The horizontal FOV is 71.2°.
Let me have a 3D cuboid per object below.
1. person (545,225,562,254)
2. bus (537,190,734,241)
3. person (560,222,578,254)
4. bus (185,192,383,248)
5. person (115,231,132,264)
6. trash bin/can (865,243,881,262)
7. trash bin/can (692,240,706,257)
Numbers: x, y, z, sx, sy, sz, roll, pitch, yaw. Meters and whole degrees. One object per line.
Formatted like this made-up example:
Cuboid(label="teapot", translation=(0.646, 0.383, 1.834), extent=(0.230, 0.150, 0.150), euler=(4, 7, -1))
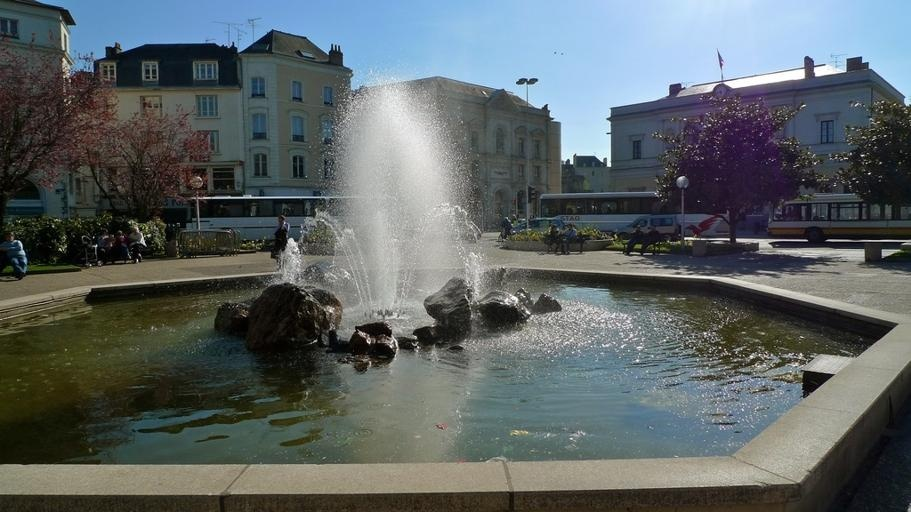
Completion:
Cuboid(label="person", translation=(4.825, -0.878, 31.742), extent=(0.729, 1.349, 1.043), euler=(0, 6, 2))
Cuboid(label="bus", translation=(12.508, -3.286, 47.374), extent=(12.990, 3.536, 3.453), euler=(-1, 18, 4))
Cuboid(label="person", translation=(5.595, -0.848, 31.554), extent=(0.772, 1.268, 1.762), euler=(2, 6, 15))
Cuboid(label="bus", translation=(-12.297, -2.359, 44.167), extent=(12.411, 3.193, 3.051), euler=(1, -5, 18))
Cuboid(label="person", translation=(-14.790, -0.419, 28.103), extent=(0.630, 1.311, 1.102), euler=(-3, 7, -28))
Cuboid(label="trash bin/can", translation=(16.060, -0.117, 24.508), extent=(0.386, 0.490, 0.710), euler=(-3, 3, 15))
Cuboid(label="trash bin/can", translation=(10.772, -0.302, 28.082), extent=(0.626, 0.893, 0.624), euler=(-3, 8, 3))
